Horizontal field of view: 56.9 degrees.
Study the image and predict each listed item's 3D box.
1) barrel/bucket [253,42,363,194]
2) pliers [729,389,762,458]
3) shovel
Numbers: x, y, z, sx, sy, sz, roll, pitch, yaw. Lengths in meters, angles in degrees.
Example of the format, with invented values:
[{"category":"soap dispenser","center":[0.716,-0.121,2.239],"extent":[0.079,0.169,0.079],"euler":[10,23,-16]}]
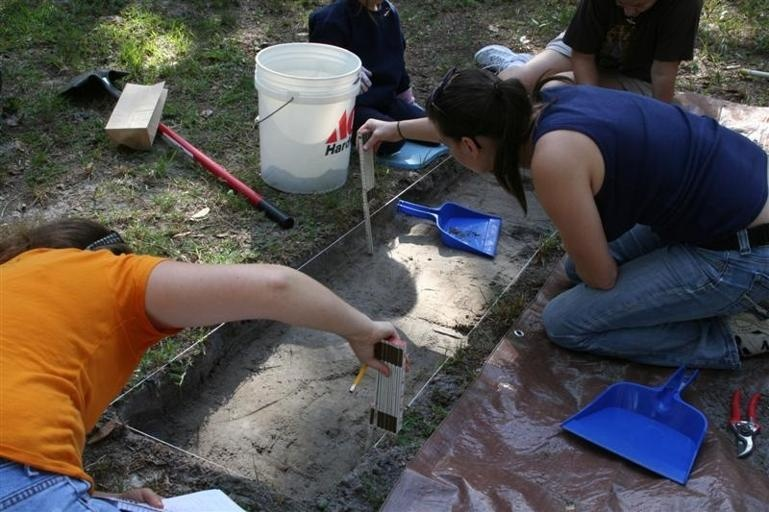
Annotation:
[{"category":"barrel/bucket","center":[-0.497,-0.861,4.553],"extent":[0.579,0.823,0.725],"euler":[22,54,21]},{"category":"pliers","center":[1.752,0.805,3.442],"extent":[0.142,0.062,0.393],"euler":[17,55,16]},{"category":"shovel","center":[-1.361,-0.741,4.645],"extent":[1.996,0.161,0.836],"euler":[43,37,20]}]
